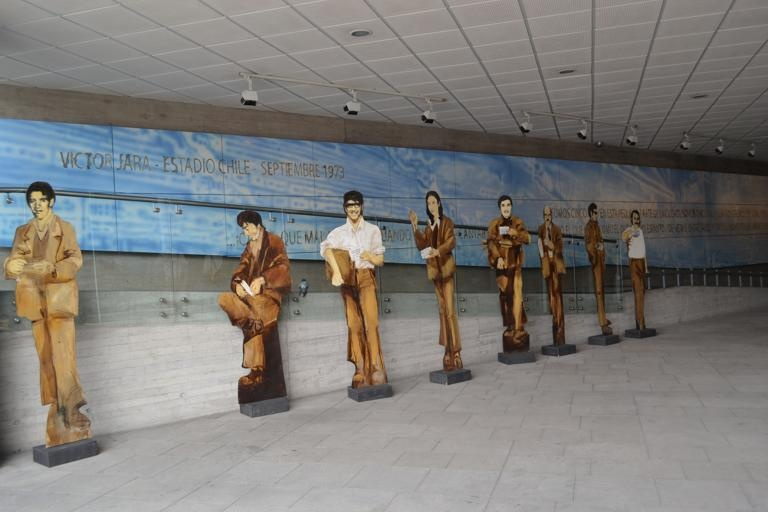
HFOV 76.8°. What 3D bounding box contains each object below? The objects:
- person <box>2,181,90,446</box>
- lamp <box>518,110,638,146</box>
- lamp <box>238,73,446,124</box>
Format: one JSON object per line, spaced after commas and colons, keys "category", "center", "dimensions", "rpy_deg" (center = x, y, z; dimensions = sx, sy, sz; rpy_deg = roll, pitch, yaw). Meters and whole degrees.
{"category": "person", "center": [-4.492, 0.739, 6.510], "dimensions": [0.819, 3.525, 0.616], "rpy_deg": [-5, 4, -22]}
{"category": "lamp", "center": [4.440, -2.803, 10.759], "dimensions": [4.296, 0.400, 0.970], "rpy_deg": [-5, 3, -36]}
{"category": "lamp", "center": [-0.617, -2.556, 7.914], "dimensions": [3.483, 0.499, 0.739], "rpy_deg": [-4, 3, -28]}
